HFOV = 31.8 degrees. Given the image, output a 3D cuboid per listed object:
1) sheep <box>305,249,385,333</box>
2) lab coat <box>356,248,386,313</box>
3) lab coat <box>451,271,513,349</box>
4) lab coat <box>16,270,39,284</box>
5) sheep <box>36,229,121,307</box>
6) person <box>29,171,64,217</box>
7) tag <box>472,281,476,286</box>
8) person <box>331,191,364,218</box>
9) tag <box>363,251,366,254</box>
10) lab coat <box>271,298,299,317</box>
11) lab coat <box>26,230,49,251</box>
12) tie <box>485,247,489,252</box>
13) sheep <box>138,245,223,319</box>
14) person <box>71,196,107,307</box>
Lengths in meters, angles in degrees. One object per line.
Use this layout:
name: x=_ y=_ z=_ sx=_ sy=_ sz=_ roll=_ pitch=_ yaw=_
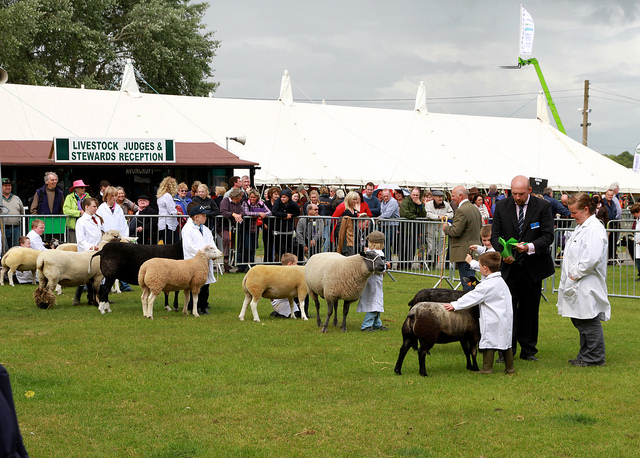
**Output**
sheep: x=0.529 y=1.544 z=27.551 sx=1.295 sy=1.966 sz=2.898 roll=3 pitch=-2 yaw=-30
lab coat: x=1.306 y=1.516 z=27.299 sx=0.519 sy=0.963 sz=0.853 roll=2 pitch=-2 yaw=-25
lab coat: x=3.686 y=1.784 z=25.021 sx=1.154 sy=1.701 sz=0.294 roll=1 pitch=-2 yaw=1
lab coat: x=-8.142 y=1.291 z=30.926 sx=0.433 sy=0.322 sz=0.229 roll=2 pitch=-2 yaw=-19
sheep: x=-6.136 y=1.024 z=28.675 sx=2.384 sy=1.901 sz=0.859 roll=-2 pitch=3 yaw=-37
person: x=-7.722 y=-0.962 z=31.828 sx=0.891 sy=1.218 sz=1.088 roll=2 pitch=-2 yaw=-15
tag: x=3.494 y=1.223 z=25.710 sx=0.021 sy=0.069 sz=0.072 roll=46 pitch=-19 yaw=-8
person: x=0.768 y=-0.716 z=32.915 sx=0.845 sy=0.712 sz=1.333 roll=1 pitch=-2 yaw=1
tag: x=1.045 y=0.545 z=26.895 sx=0.034 sy=0.044 sz=0.044 roll=-2 pitch=-17 yaw=-7
lab coat: x=-0.892 y=1.961 z=28.454 sx=0.633 sy=0.458 sz=0.399 roll=4 pitch=2 yaw=6
lab coat: x=-7.781 y=0.278 z=30.893 sx=0.538 sy=0.529 sz=0.516 roll=3 pitch=-3 yaw=-36
tie: x=4.020 y=0.483 z=27.352 sx=0.023 sy=0.087 sz=0.093 roll=0 pitch=3 yaw=30
sheep: x=-3.510 y=1.315 z=28.089 sx=2.320 sy=1.777 sz=0.905 roll=-1 pitch=-3 yaw=-37
person: x=-5.946 y=0.596 z=29.214 sx=0.970 sy=2.888 sz=0.965 roll=-2 pitch=13 yaw=-26
